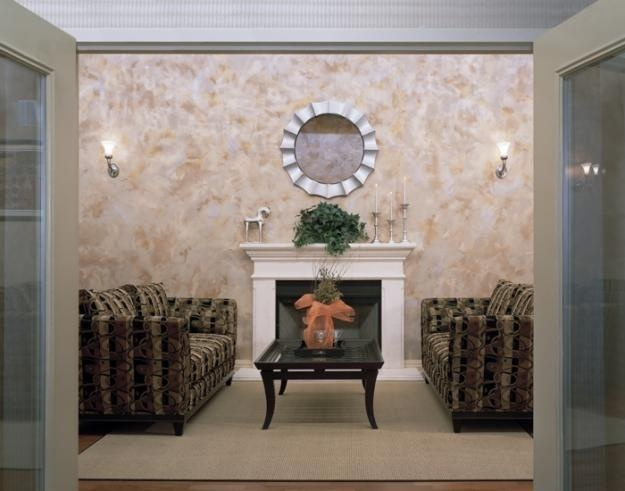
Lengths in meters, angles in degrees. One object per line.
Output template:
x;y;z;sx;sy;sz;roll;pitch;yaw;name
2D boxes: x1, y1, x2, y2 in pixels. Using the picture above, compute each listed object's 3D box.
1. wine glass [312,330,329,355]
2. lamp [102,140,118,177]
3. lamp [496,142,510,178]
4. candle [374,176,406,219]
0.050;0.692;4.192;0.125;0.263;0.132;0;-2;5;wine glass
-1.894;-0.787;5.458;0.181;0.339;0.116;2;5;21;lamp
1.747;-0.779;5.428;0.139;0.331;0.130;0;5;1;lamp
0.716;-0.432;5.469;0.346;0.588;0.110;1;2;8;candle
